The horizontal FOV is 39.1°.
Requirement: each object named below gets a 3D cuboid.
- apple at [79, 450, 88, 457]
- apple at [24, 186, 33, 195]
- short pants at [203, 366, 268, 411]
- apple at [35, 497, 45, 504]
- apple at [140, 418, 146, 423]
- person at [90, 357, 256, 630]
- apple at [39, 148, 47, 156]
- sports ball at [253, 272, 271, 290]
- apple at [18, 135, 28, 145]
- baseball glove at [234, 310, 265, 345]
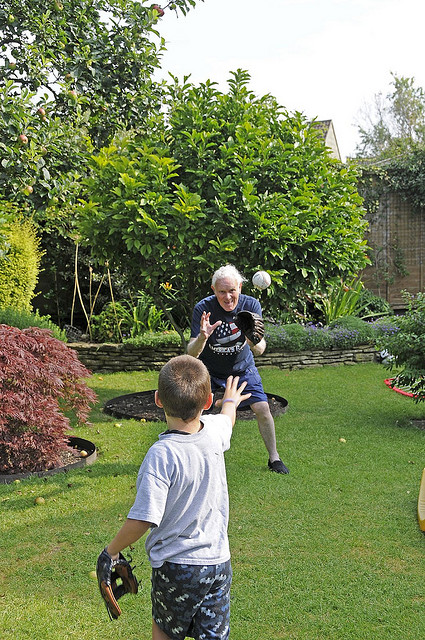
[{"bbox_3d":[-0.986,1.021,4.581,0.039,0.020,0.037,5,-1,8],"label":"apple"},{"bbox_3d":[-1.587,-1.131,5.210,0.061,0.058,0.081,-10,-7,8],"label":"apple"},{"bbox_3d":[0.194,0.522,4.126,0.501,0.409,0.264,-4,-6,-9],"label":"short pants"},{"bbox_3d":[-1.080,1.126,3.739,0.059,0.024,0.068,-2,6,-20],"label":"apple"},{"bbox_3d":[-0.659,0.951,5.683,0.036,0.039,0.034,-2,-5,-1],"label":"apple"},{"bbox_3d":[-0.096,0.565,1.975,0.363,0.870,0.511,3,8,22],"label":"person"},{"bbox_3d":[-1.449,-1.444,5.132,0.059,0.071,0.029,0,9,-44],"label":"apple"},{"bbox_3d":[0.451,-0.343,5.259,0.150,0.148,0.143,-19,26,10],"label":"sports ball"},{"bbox_3d":[-1.557,-1.493,4.925,0.067,0.079,0.140,-2,7,-17],"label":"apple"},{"bbox_3d":[0.235,0.032,3.587,0.204,0.091,0.162,34,9,40],"label":"baseball glove"}]
